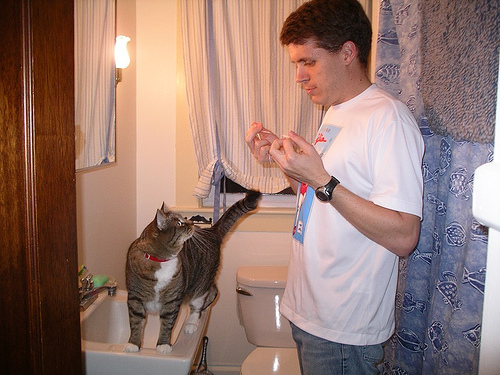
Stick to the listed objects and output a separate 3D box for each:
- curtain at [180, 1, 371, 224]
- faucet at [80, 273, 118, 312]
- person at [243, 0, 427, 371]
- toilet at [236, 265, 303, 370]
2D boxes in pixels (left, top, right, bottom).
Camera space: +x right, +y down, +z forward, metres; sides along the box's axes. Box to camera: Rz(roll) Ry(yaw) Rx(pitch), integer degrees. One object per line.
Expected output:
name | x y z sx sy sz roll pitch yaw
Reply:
curtain | 0.005 -0.460 2.168 0.720 1.055 0.202 -2 7 -18
faucet | -0.554 0.382 1.460 0.049 0.093 0.178 0 10 12
person | 0.264 0.054 1.266 0.550 1.234 0.571 0 7 0
toilet | 0.075 0.664 2.163 0.418 0.602 0.580 -3 -13 3
